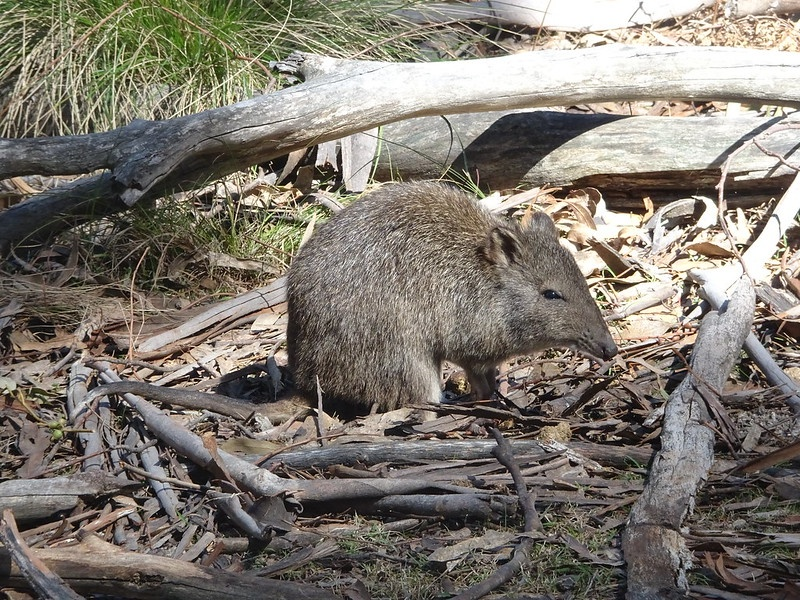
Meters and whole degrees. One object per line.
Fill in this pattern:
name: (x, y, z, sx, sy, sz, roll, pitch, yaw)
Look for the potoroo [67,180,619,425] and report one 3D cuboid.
potoroo: (0.096, 0.041, 5.584, 2.559, 1.503, 0.902, -1, 21, -4)
